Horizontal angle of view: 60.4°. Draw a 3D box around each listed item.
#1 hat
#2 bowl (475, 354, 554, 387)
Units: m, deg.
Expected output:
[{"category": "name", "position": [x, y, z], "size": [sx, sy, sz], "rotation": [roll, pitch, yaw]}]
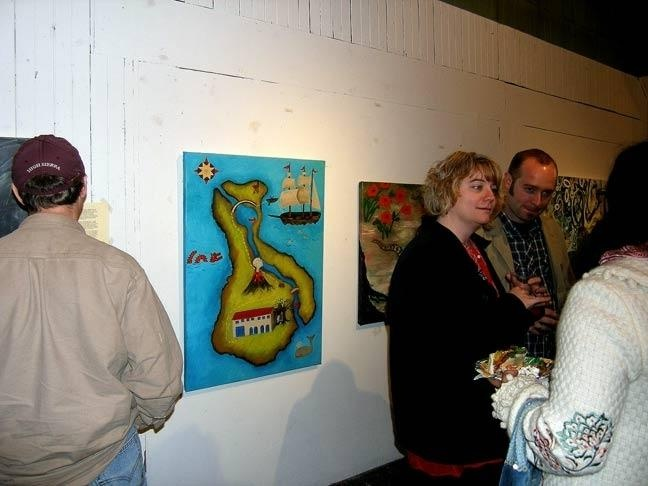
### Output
[{"category": "hat", "position": [-1.241, -0.359, 2.358], "size": [0.235, 0.150, 0.267], "rotation": [-9, 51, -19]}, {"category": "bowl", "position": [0.840, 0.502, 2.259], "size": [0.210, 0.118, 0.184], "rotation": [-9, 4, 5]}]
